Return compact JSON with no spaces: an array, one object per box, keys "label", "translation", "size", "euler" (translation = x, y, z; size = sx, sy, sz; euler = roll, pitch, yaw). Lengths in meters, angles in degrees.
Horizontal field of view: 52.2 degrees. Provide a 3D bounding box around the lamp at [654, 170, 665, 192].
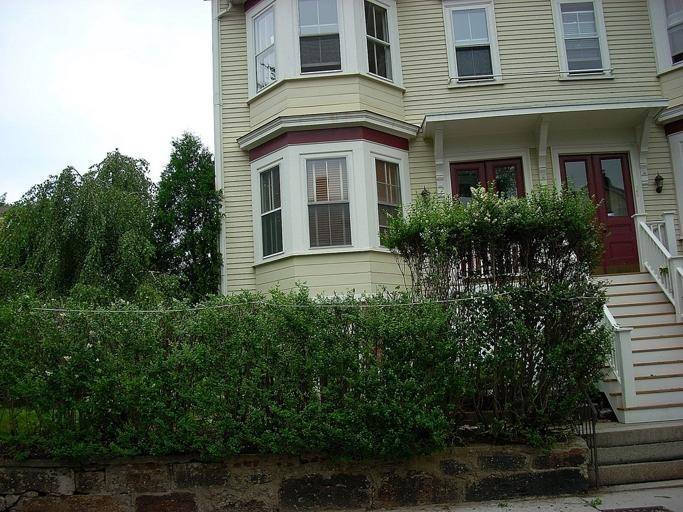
[{"label":"lamp","translation":[6.990,-1.595,15.346],"size":[0.235,0.437,0.135],"euler":[-1,-10,-7]}]
